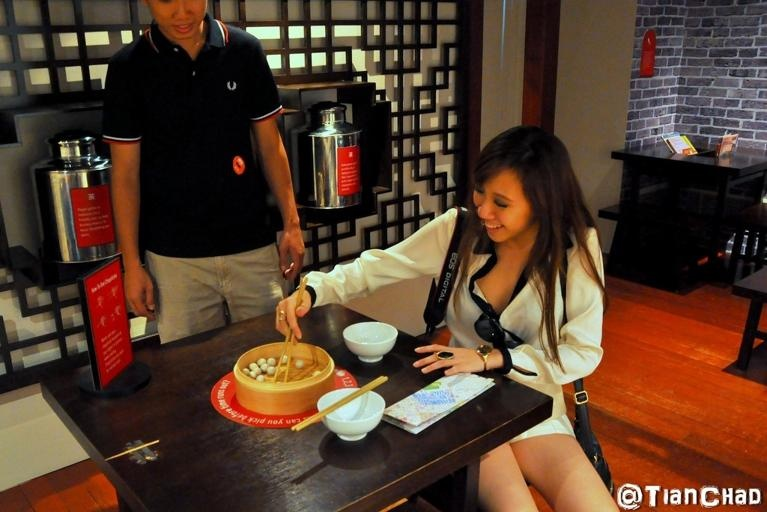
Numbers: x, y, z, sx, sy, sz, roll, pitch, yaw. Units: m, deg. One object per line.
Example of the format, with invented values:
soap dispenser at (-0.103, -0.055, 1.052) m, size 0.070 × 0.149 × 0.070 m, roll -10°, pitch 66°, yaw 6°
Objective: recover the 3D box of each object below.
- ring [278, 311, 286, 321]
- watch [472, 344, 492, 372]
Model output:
ring at (-0.350, 0.205, 1.822) m, size 0.026 × 0.020 × 0.033 m, roll -6°, pitch 40°, yaw -5°
watch at (0.316, 0.336, 1.709) m, size 0.054 × 0.102 × 0.054 m, roll -6°, pitch 17°, yaw -4°
